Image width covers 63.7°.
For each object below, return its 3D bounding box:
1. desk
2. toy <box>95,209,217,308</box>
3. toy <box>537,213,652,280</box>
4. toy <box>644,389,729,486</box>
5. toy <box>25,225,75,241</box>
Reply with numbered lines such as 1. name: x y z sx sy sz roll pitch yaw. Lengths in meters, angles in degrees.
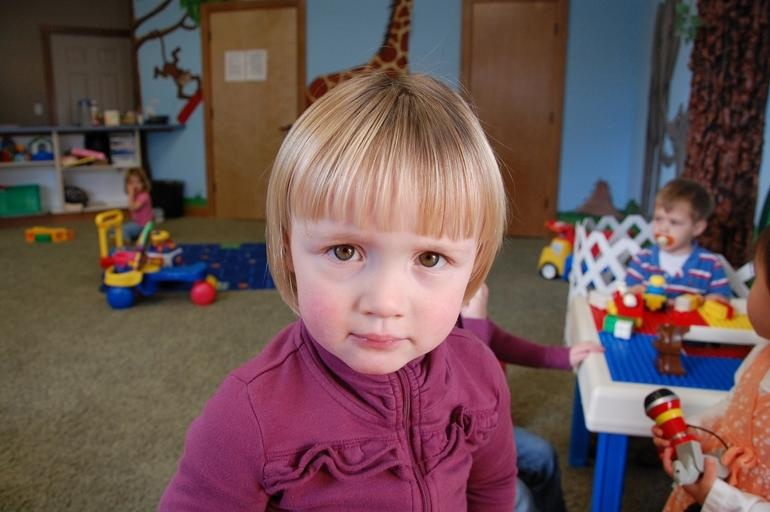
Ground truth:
1. desk: 0.768 0.389 2.007 0.600 0.466 0.609 3 11 -3
2. toy: -1.346 0.034 3.582 0.684 0.570 0.540 -2 19 -7
3. toy: 1.225 -0.096 3.842 0.721 0.363 0.471 2 6 8
4. toy: 0.731 0.458 1.568 0.149 0.239 0.076 6 13 30
5. toy: -2.516 -0.162 4.653 0.309 0.095 0.213 -4 12 -16
